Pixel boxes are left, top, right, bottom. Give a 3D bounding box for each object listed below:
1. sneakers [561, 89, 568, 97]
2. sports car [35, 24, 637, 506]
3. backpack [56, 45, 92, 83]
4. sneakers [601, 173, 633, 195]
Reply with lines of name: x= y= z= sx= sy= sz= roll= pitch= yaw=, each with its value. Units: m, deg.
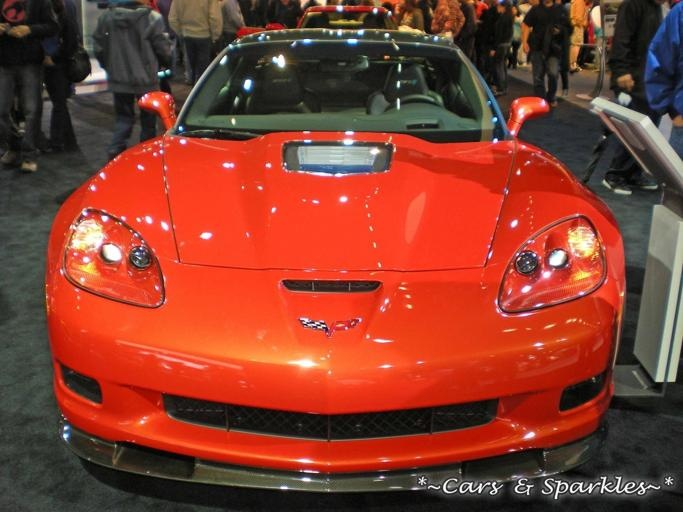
sneakers: x=4.477 y=-3.248 z=12.295 sx=0.095 sy=0.120 sz=0.310 roll=1 pitch=7 yaw=17
sports car: x=0.007 y=0.112 z=2.916 sx=1.674 sy=0.875 sz=2.906 roll=2 pitch=35 yaw=2
backpack: x=-3.193 y=-2.389 z=7.507 sx=0.235 sy=0.428 sz=0.460 roll=-1 pitch=16 yaw=-15
sneakers: x=2.793 y=-0.711 z=6.225 sx=0.121 sy=0.136 sz=0.349 roll=-23 pitch=33 yaw=-8
